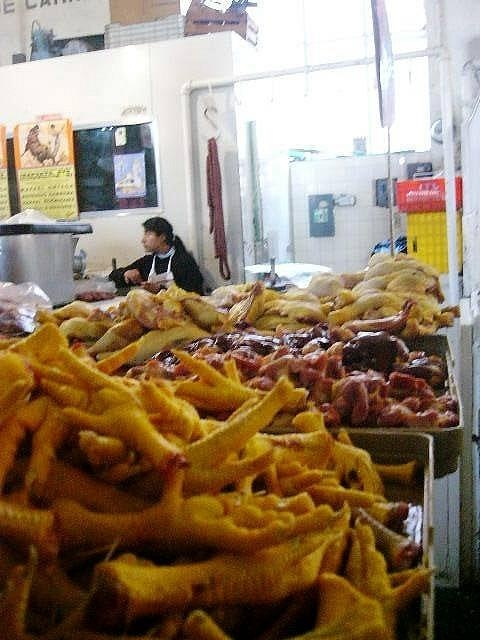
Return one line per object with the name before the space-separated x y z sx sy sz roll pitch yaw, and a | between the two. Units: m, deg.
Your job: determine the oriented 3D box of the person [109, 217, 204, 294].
person | -0.681 -0.483 3.723 0.676 0.621 0.778 -2 4 6
